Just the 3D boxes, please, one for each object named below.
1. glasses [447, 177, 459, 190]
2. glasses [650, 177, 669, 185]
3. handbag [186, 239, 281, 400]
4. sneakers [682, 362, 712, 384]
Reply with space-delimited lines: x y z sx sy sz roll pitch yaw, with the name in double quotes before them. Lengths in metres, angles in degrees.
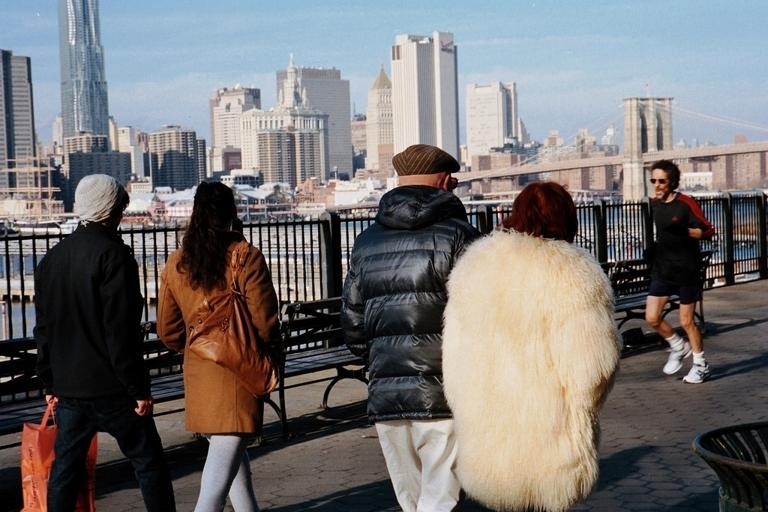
"glasses" 0.463 -0.494 8.603 0.082 0.094 0.082 0 0 11
"glasses" 2.614 -0.724 12.278 0.137 0.059 0.184 -3 7 5
"handbag" -1.042 0.430 8.715 0.553 1.003 0.218 -5 7 -8
"sneakers" 2.996 1.112 12.351 0.135 0.130 0.305 -1 0 42
